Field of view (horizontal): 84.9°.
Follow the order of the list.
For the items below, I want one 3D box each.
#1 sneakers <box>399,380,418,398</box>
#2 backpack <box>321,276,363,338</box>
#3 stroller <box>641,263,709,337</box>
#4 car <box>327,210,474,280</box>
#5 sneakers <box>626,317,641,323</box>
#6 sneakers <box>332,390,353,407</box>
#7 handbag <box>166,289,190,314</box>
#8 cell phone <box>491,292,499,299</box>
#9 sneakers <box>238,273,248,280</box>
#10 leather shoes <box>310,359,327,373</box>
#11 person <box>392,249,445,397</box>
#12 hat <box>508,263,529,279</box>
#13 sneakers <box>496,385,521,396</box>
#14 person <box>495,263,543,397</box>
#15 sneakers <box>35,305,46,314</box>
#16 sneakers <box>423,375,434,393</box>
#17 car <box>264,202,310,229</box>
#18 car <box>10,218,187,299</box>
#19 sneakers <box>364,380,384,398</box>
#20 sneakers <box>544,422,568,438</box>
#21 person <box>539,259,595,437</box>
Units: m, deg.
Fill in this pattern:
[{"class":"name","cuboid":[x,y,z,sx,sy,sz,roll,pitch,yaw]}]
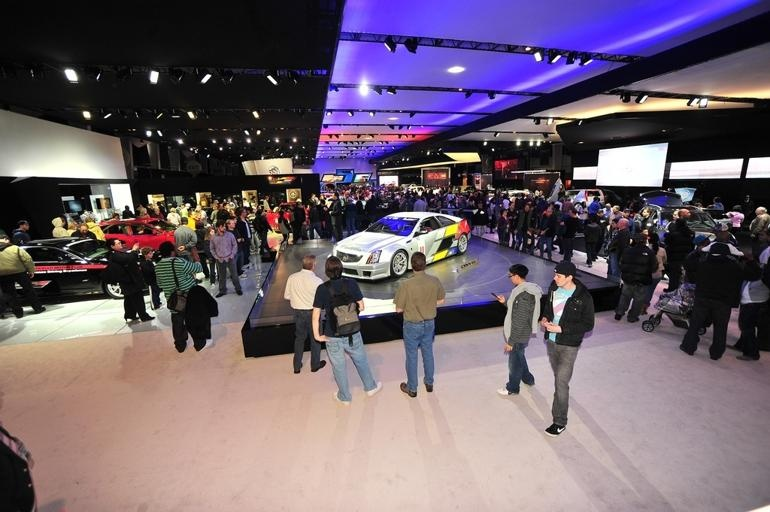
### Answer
[{"class":"sneakers","cuboid":[0.422,2.433,7.647,0.145,0.159,0.376,-14,29,-25]},{"class":"backpack","cuboid":[-0.750,0.894,7.258,0.614,0.977,0.420,-4,12,-3]},{"class":"stroller","cuboid":[6.406,0.945,9.582,1.496,1.650,1.079,11,20,34]},{"class":"car","cuboid":[0.532,-0.283,11.743,1.735,1.045,3.673,9,15,43]},{"class":"sneakers","cuboid":[5.646,1.433,9.560,0.188,0.147,0.262,-12,8,-33]},{"class":"sneakers","cuboid":[-0.768,2.541,7.554,0.138,0.157,0.370,-26,40,-37]},{"class":"handbag","cuboid":[-4.307,0.929,8.772,0.388,0.537,0.293,9,22,-35]},{"class":"cell phone","cuboid":[2.345,0.850,9.045,0.143,0.041,0.160,25,10,9]},{"class":"sneakers","cuboid":[-4.454,0.640,13.157,0.281,0.113,0.124,3,16,14]},{"class":"leather shoes","cuboid":[-1.300,2.142,8.320,0.124,0.217,0.324,15,30,26]},{"class":"person","cuboid":[0.603,1.202,7.561,0.841,2.633,0.483,-4,12,-6]},{"class":"hat","cuboid":[2.331,0.258,7.250,0.269,0.292,0.346,1,-31,2]},{"class":"sneakers","cuboid":[2.210,2.436,7.623,0.306,0.109,0.157,2,12,5]},{"class":"person","cuboid":[2.365,1.296,7.441,0.674,2.401,0.854,1,13,18]},{"class":"sneakers","cuboid":[-8.889,1.365,10.871,0.111,0.227,0.240,6,13,22]},{"class":"sneakers","cuboid":[0.801,2.335,7.682,0.126,0.144,0.351,-1,-3,1]},{"class":"car","cuboid":[-3.971,-1.735,17.839,1.370,0.931,2.083,3,12,20]},{"class":"car","cuboid":[-9.411,0.073,11.833,5.334,1.567,2.305,2,12,-1]},{"class":"sneakers","cuboid":[-0.210,2.447,7.700,0.135,0.156,0.398,11,23,27]},{"class":"sneakers","cuboid":[2.800,2.854,6.898,0.345,0.135,0.159,-7,11,-32]},{"class":"person","cuboid":[2.904,1.481,6.906,0.795,2.840,0.551,-7,13,-16]}]
